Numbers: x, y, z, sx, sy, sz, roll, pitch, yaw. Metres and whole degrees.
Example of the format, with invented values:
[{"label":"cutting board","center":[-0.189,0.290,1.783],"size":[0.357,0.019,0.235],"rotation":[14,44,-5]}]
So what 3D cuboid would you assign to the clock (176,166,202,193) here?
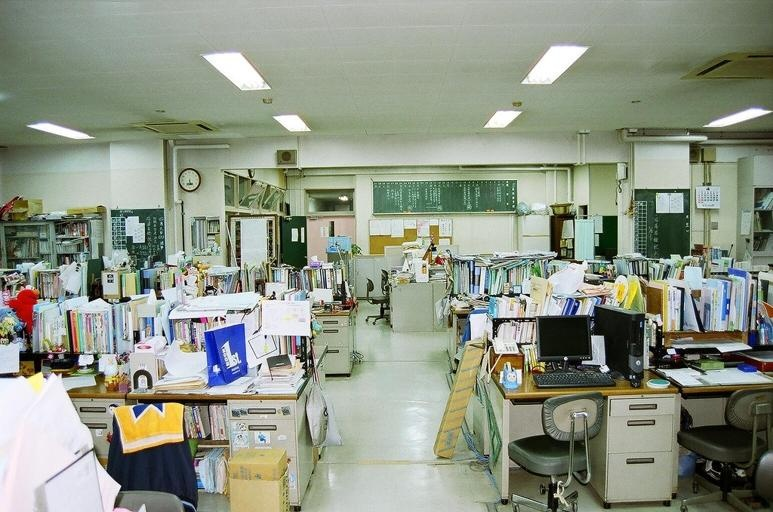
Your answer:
[{"label":"clock","center":[-3.470,-1.352,10.347],"size":[0.432,0.401,0.402],"rotation":[0,2,-1]}]

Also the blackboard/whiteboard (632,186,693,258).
[{"label":"blackboard/whiteboard","center":[4.640,-0.611,10.007],"size":[1.345,1.553,0.092],"rotation":[-1,5,2]}]

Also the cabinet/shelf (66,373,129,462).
[{"label":"cabinet/shelf","center":[-2.823,1.588,5.774],"size":[0.413,0.763,0.721],"rotation":[-6,4,-43]}]

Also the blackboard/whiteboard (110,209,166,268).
[{"label":"blackboard/whiteboard","center":[-4.202,-0.331,10.065],"size":[1.127,1.130,0.078],"rotation":[1,7,6]}]

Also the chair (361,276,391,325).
[{"label":"chair","center":[-0.116,0.855,11.366],"size":[0.835,1.018,0.761],"rotation":[0,4,3]}]

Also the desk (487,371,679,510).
[{"label":"desk","center":[1.936,1.772,6.091],"size":[2.223,1.354,1.184],"rotation":[-1,-4,3]}]

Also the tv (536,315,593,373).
[{"label":"tv","center":[1.764,0.873,5.886],"size":[0.611,0.535,0.240],"rotation":[0,-6,-1]}]

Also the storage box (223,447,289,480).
[{"label":"storage box","center":[-1.163,1.893,5.420],"size":[0.405,0.129,0.266],"rotation":[0,-5,3]}]

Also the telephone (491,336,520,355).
[{"label":"telephone","center":[1.207,0.908,5.943],"size":[0.257,0.162,0.100],"rotation":[-3,3,-8]}]

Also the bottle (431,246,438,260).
[{"label":"bottle","center":[0.904,-0.053,10.773],"size":[0.076,0.204,0.170],"rotation":[-1,-9,21]}]

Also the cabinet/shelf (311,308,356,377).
[{"label":"cabinet/shelf","center":[-0.669,1.190,8.127],"size":[0.586,0.791,0.908],"rotation":[-1,-1,2]}]

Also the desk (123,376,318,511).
[{"label":"desk","center":[-1.256,1.734,5.983],"size":[1.474,0.813,1.381],"rotation":[-1,-1,4]}]

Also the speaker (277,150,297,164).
[{"label":"speaker","center":[-1.715,-1.713,10.231],"size":[0.433,0.270,0.222],"rotation":[0,0,2]}]

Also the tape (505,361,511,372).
[{"label":"tape","center":[1.207,1.077,5.781],"size":[0.068,0.081,0.067],"rotation":[3,11,26]}]
